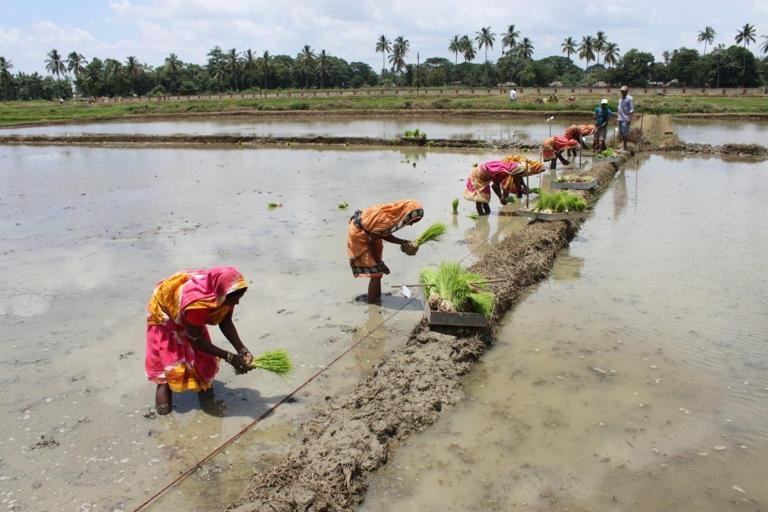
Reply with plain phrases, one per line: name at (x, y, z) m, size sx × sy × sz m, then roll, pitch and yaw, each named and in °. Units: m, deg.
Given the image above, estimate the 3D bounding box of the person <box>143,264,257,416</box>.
person at (-2.204, 0.876, 6.962) m, size 1.258 × 1.457 × 0.505 m, roll 0°, pitch 18°, yaw 11°

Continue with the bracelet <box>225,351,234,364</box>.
bracelet at (-1.801, 1.198, 6.903) m, size 0.089 × 0.112 × 0.095 m, roll 1°, pitch -14°, yaw -19°

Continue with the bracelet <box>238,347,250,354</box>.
bracelet at (-1.641, 1.134, 7.016) m, size 0.083 × 0.036 × 0.093 m, roll 7°, pitch 2°, yaw 32°

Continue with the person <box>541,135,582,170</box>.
person at (5.168, -3.161, 17.677) m, size 1.131 × 0.869 × 1.477 m, roll 10°, pitch 24°, yaw 41°

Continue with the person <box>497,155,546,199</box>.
person at (3.215, -1.825, 13.710) m, size 0.905 × 0.915 × 0.718 m, roll 1°, pitch 3°, yaw 1°

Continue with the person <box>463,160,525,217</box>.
person at (2.511, -1.523, 13.393) m, size 1.365 × 1.206 × 0.769 m, roll 2°, pitch 22°, yaw 8°
